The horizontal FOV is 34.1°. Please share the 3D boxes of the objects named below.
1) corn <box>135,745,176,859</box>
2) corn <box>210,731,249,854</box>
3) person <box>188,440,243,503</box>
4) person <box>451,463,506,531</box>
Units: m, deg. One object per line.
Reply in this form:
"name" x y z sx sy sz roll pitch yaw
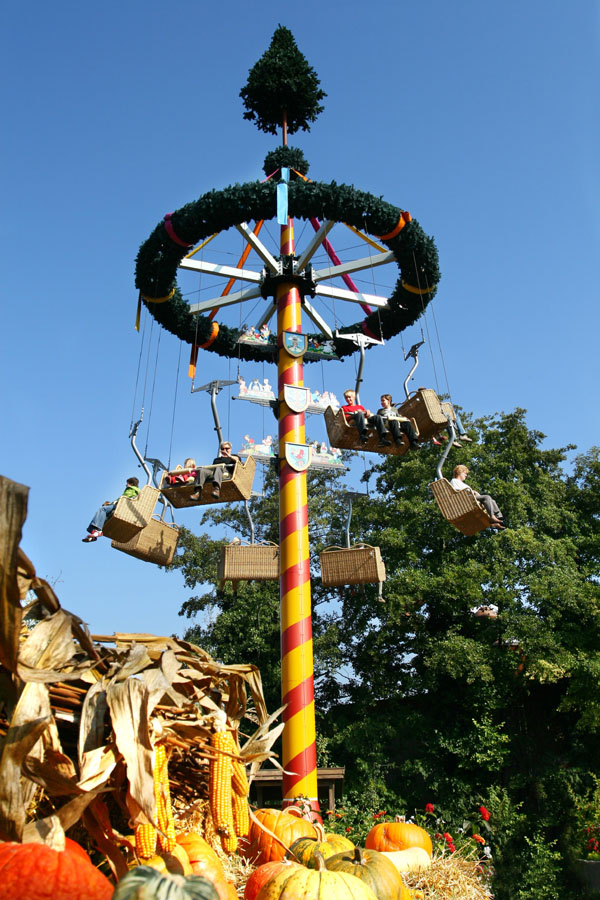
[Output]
"corn" -0.476 1.143 3.257 0.110 0.388 0.116 -13 -17 34
"corn" -0.280 1.310 3.782 0.158 0.462 0.117 -4 -7 -7
"person" -1.013 0.252 11.776 0.525 0.720 0.813 3 -11 -5
"person" 2.011 0.567 11.538 0.606 0.841 0.490 -12 -14 40
